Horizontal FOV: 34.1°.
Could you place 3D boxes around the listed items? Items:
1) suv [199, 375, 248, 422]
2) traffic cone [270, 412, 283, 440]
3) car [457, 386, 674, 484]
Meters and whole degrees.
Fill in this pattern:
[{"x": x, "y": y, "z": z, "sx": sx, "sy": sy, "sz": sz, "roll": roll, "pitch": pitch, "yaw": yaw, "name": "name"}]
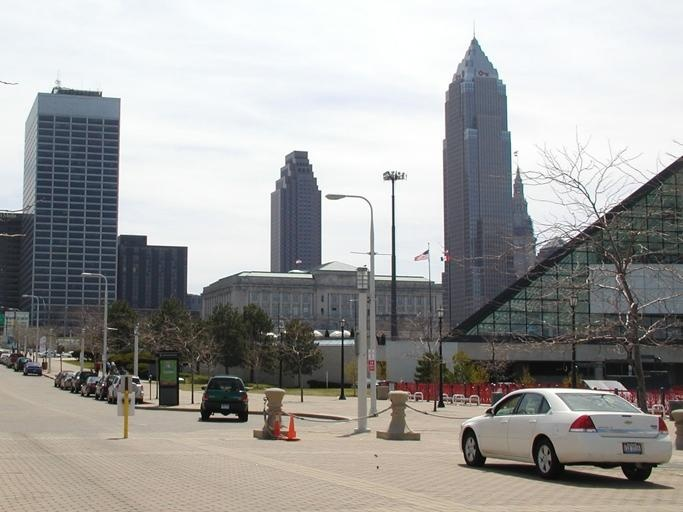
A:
[{"x": -4.989, "y": 6.072, "z": 46.979, "sx": 2.080, "sy": 1.852, "sz": 2.240, "roll": 3, "pitch": -8, "yaw": -10, "name": "suv"}, {"x": -2.176, "y": 5.707, "z": 37.039, "sx": 0.341, "sy": 0.794, "sz": 0.368, "roll": 2, "pitch": -10, "yaw": -8, "name": "traffic cone"}, {"x": 6.052, "y": 4.940, "z": 31.357, "sx": 3.379, "sy": 2.315, "sz": 7.010, "roll": 5, "pitch": -8, "yaw": -21, "name": "car"}]
